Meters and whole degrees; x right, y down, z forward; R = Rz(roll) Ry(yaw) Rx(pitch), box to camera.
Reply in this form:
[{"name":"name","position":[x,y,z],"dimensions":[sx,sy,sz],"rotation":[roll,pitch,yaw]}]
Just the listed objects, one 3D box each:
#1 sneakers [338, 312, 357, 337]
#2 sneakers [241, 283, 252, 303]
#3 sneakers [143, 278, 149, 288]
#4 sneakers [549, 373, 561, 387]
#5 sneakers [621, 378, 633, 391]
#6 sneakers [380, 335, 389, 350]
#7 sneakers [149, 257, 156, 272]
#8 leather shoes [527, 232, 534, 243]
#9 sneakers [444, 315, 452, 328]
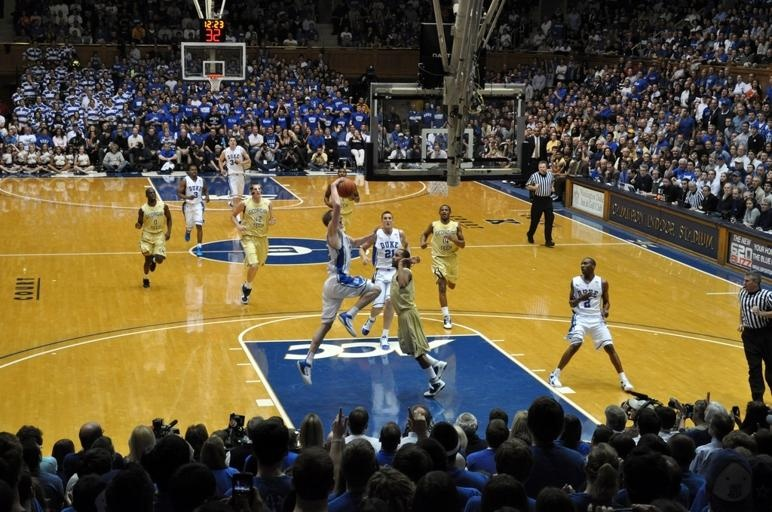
[{"name":"sneakers","position":[-0.645,1.145,13.863],"dimensions":[0.230,0.393,0.243],"rotation":[4,11,13]},{"name":"sneakers","position":[-2.818,0.776,16.757],"dimensions":[0.167,0.495,0.216],"rotation":[-1,-5,-19]},{"name":"sneakers","position":[-5.200,0.559,17.871],"dimensions":[0.129,0.187,0.254],"rotation":[-2,11,-16]},{"name":"sneakers","position":[2.766,2.001,13.330],"dimensions":[0.201,0.208,0.290],"rotation":[4,11,12]},{"name":"sneakers","position":[3.885,2.060,13.210],"dimensions":[0.181,0.171,0.277],"rotation":[4,11,16]},{"name":"sneakers","position":[0.003,1.540,14.812],"dimensions":[0.165,0.267,0.289],"rotation":[1,10,-1]},{"name":"sneakers","position":[-5.091,0.155,17.959],"dimensions":[0.099,0.309,0.130],"rotation":[3,11,-13]},{"name":"leather shoes","position":[3.892,-0.526,21.980],"dimensions":[0.169,0.289,0.464],"rotation":[3,10,9]},{"name":"sneakers","position":[1.197,1.232,15.790],"dimensions":[0.163,0.258,0.448],"rotation":[2,10,4]}]
